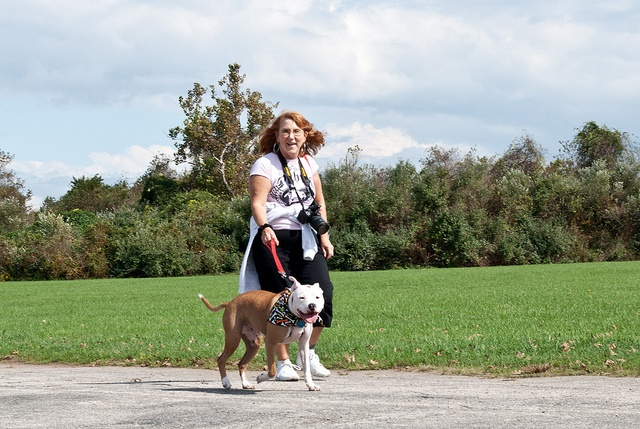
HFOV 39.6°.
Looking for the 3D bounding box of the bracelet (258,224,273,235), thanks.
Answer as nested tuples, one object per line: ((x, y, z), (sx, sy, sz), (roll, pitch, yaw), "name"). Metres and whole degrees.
((-1.570, 0.378, 24.834), (0.252, 0.101, 0.257), (-23, -47, 19), "bracelet")
